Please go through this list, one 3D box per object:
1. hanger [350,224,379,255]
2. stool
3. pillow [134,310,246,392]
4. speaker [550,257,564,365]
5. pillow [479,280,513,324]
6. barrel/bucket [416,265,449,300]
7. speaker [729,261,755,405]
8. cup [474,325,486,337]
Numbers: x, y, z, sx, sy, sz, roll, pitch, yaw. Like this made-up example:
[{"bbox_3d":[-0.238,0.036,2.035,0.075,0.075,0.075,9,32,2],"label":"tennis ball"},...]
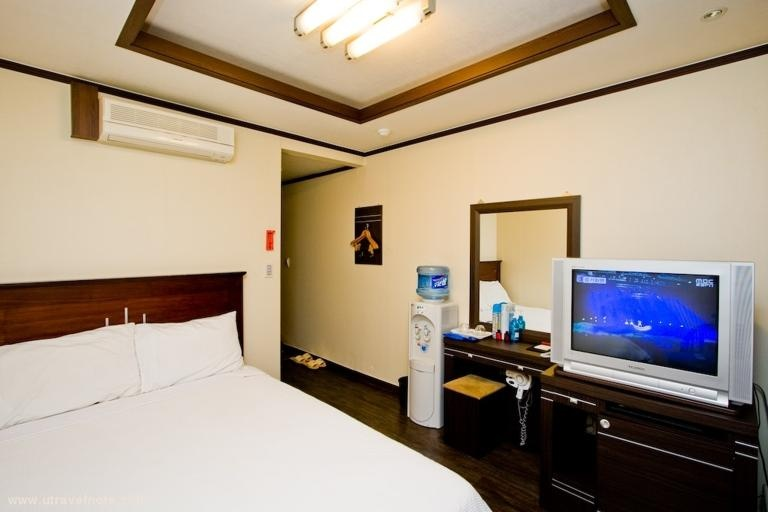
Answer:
[{"bbox_3d":[-0.234,-0.198,6.070,0.091,0.345,0.466,-2,3,-38],"label":"hanger"},{"bbox_3d":[0.833,1.476,4.819,0.615,0.802,0.598,0,0,-35],"label":"stool"},{"bbox_3d":[-1.740,0.853,4.356,0.650,0.388,0.181,2,-30,-43],"label":"pillow"},{"bbox_3d":[1.422,0.446,4.067,0.094,0.850,0.053,1,3,22],"label":"speaker"},{"bbox_3d":[1.140,0.450,5.072,0.343,0.384,0.122,14,16,39],"label":"pillow"},{"bbox_3d":[0.487,0.282,5.233,0.363,0.357,0.343,0,-3,0],"label":"barrel/bucket"},{"bbox_3d":[2.501,0.550,3.474,0.142,1.005,0.123,2,3,35],"label":"speaker"},{"bbox_3d":[0.965,0.738,4.945,0.090,0.094,0.085,3,-3,0],"label":"cup"}]
